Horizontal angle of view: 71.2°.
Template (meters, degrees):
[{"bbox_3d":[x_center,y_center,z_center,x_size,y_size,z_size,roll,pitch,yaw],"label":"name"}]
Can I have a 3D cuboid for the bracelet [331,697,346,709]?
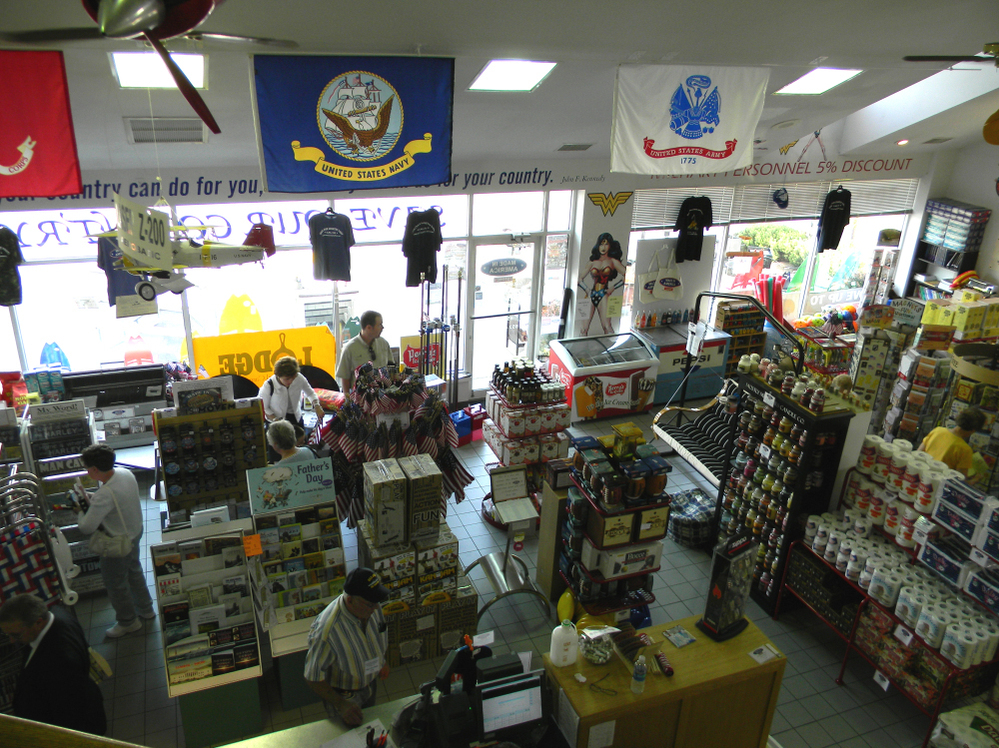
[{"bbox_3d":[-1.119,2.309,4.885,0.057,0.013,0.055,-12,19,-35],"label":"bracelet"}]

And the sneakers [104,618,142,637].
[{"bbox_3d":[-3.768,2.558,7.057,0.350,0.146,0.135,-6,25,-25],"label":"sneakers"}]

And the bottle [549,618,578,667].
[{"bbox_3d":[0.487,1.978,5.187,0.259,0.344,0.167,-4,13,-8],"label":"bottle"}]

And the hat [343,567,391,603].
[{"bbox_3d":[-0.945,1.514,5.038,0.301,0.154,0.208,12,21,11],"label":"hat"}]

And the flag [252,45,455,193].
[{"bbox_3d":[-1.565,-2.737,7.339,1.550,0.981,0.065,-5,21,-19],"label":"flag"}]

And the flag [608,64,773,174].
[{"bbox_3d":[2.290,-3.073,8.473,1.900,1.219,0.289,-5,14,-15],"label":"flag"}]

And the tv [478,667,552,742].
[{"bbox_3d":[0.097,2.220,4.573,0.499,0.399,0.213,-6,14,-17],"label":"tv"}]
